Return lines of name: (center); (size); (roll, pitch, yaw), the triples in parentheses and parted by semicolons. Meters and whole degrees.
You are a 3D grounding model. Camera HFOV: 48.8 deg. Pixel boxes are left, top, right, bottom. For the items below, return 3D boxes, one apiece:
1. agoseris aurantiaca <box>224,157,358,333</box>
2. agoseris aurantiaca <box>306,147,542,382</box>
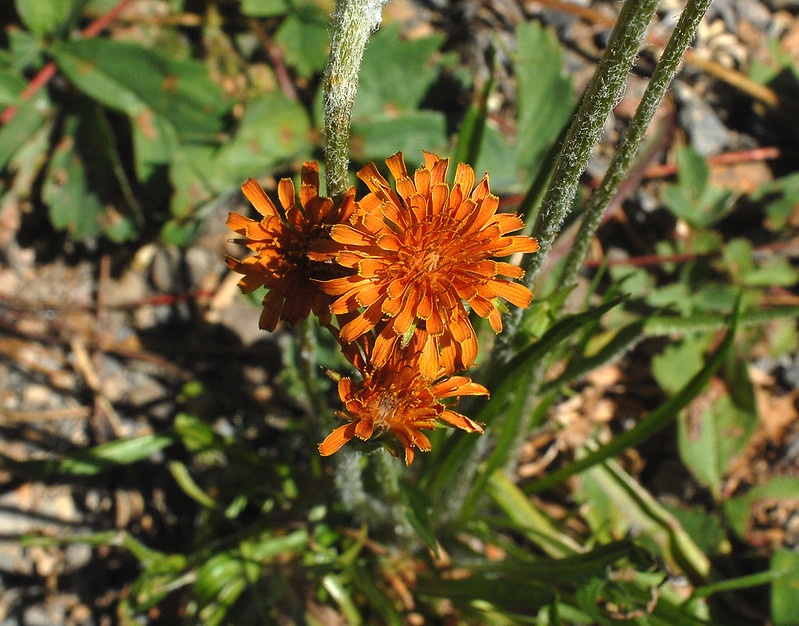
agoseris aurantiaca: (-0.240, -0.147, 2.176); (0.409, 0.157, 0.359); (19, 87, 6)
agoseris aurantiaca: (0.059, -0.113, 2.048); (0.512, 0.549, 0.185); (12, 81, -5)
